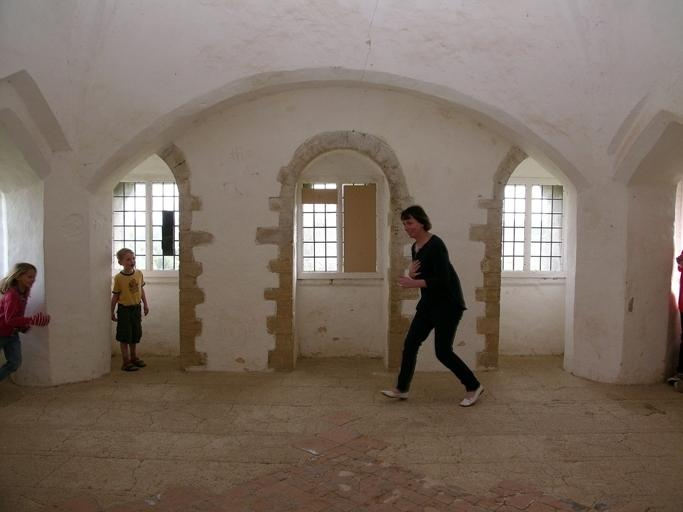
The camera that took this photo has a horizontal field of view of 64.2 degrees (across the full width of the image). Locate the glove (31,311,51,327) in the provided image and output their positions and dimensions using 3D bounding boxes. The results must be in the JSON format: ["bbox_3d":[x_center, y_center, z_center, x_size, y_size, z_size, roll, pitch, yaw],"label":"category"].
[{"bbox_3d":[-3.457,0.729,6.235,0.250,0.115,0.141,0,-1,10],"label":"glove"}]

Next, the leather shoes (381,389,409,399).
[{"bbox_3d":[0.621,1.574,6.227,0.313,0.123,0.121,9,-5,-2],"label":"leather shoes"}]

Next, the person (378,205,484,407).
[{"bbox_3d":[1.009,0.563,5.985,1.017,2.189,0.459,0,11,5],"label":"person"}]

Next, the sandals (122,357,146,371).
[{"bbox_3d":[-2.759,1.435,7.218,0.219,0.077,0.164,0,4,30],"label":"sandals"}]

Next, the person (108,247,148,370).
[{"bbox_3d":[-2.785,0.709,7.158,0.433,1.573,0.355,-5,12,-23],"label":"person"}]
